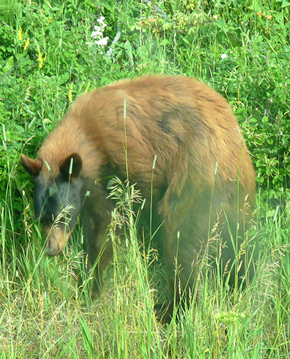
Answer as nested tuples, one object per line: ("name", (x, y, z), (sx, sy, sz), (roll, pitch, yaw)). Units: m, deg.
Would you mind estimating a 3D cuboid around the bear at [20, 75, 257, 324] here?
("bear", (0.030, 0.047, 3.265), (1.552, 2.027, 1.061), (-7, -2, -6))
